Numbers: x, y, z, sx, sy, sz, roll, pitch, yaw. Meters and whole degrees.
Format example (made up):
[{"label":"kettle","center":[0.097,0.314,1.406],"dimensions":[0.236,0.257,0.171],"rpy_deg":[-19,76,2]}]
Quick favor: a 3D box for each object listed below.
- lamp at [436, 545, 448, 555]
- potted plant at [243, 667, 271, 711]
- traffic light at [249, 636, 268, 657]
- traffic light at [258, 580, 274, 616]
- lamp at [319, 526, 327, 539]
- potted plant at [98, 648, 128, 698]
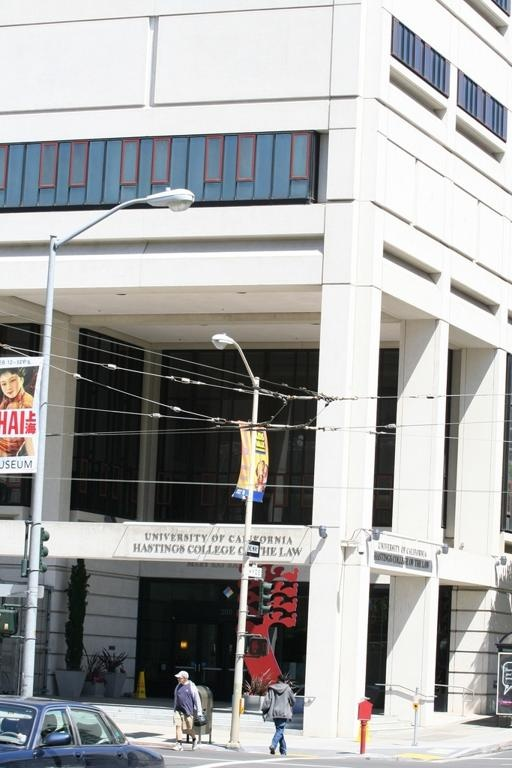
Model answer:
[{"label":"lamp","center":[5.335,4.783,39.345],"dimensions":[0.294,0.142,0.309],"rpy_deg":[-5,-7,19]},{"label":"potted plant","center":[0.041,8.536,38.274],"dimensions":[0.958,1.273,0.911],"rpy_deg":[2,-5,-22]},{"label":"traffic light","center":[0.032,5.562,29.071],"dimensions":[0.418,0.448,0.518],"rpy_deg":[3,-10,2]},{"label":"traffic light","center":[0.203,4.642,29.506],"dimensions":[0.231,0.704,0.538],"rpy_deg":[4,-10,-5]},{"label":"lamp","center":[1.684,3.752,34.537],"dimensions":[0.210,0.263,0.238],"rpy_deg":[25,-26,-36]},{"label":"potted plant","center":[-4.638,9.242,43.929],"dimensions":[0.806,1.195,0.818],"rpy_deg":[12,-17,18]}]
